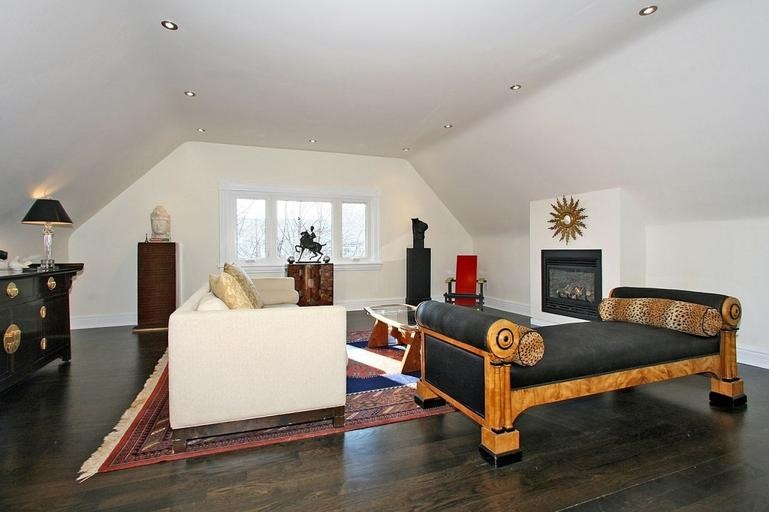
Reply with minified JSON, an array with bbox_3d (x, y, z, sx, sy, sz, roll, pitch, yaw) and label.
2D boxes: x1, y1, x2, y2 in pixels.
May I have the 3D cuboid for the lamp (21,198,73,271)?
[{"bbox_3d":[-3.714,-0.245,5.042,0.455,0.782,0.350,0,1,19],"label":"lamp"}]

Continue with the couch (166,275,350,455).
[{"bbox_3d":[-1.388,0.873,4.921,1.479,1.109,2.522,-1,6,-17],"label":"couch"}]

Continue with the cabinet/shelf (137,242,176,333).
[{"bbox_3d":[-3.235,0.427,6.671,0.641,1.237,0.465,0,0,-20],"label":"cabinet/shelf"}]

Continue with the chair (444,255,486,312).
[{"bbox_3d":[1.387,0.479,7.926,0.683,0.842,0.679,0,10,6],"label":"chair"}]

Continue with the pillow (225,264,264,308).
[{"bbox_3d":[-1.489,0.288,4.886,0.148,0.457,0.488,-27,-9,-3],"label":"pillow"}]

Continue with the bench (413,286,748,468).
[{"bbox_3d":[1.775,0.936,4.215,2.840,1.220,0.982,-1,1,-16],"label":"bench"}]

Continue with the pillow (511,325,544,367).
[{"bbox_3d":[1.100,0.686,3.537,0.305,0.274,0.343,-10,-8,13],"label":"pillow"}]

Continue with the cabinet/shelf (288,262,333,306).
[{"bbox_3d":[-1.190,0.544,7.485,0.636,0.789,0.440,-1,-29,-9],"label":"cabinet/shelf"}]
